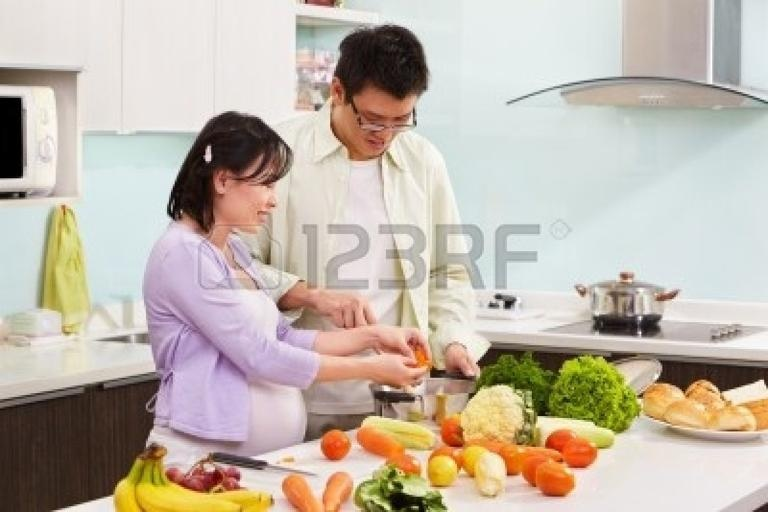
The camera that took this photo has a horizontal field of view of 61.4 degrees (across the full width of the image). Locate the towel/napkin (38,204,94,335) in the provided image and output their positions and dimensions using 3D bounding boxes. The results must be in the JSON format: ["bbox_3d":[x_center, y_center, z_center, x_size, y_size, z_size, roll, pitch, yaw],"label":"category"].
[{"bbox_3d":[-1.648,0.070,3.325,0.206,0.654,0.151,-4,7,-42],"label":"towel/napkin"}]

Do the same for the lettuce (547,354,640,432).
[{"bbox_3d":[0.609,0.393,1.994,0.269,0.210,0.296,6,10,35],"label":"lettuce"}]

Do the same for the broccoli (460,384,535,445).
[{"bbox_3d":[0.310,0.434,1.758,0.197,0.144,0.156,5,10,22],"label":"broccoli"}]

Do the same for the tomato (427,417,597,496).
[{"bbox_3d":[0.329,0.514,1.620,0.200,0.062,0.210,0,4,6],"label":"tomato"}]

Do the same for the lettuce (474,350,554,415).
[{"bbox_3d":[0.406,0.397,2.052,0.224,0.202,0.193,-2,-9,6],"label":"lettuce"}]

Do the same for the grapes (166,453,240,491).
[{"bbox_3d":[-0.387,0.479,1.409,0.190,0.092,0.141,9,-13,-18],"label":"grapes"}]

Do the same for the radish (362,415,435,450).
[{"bbox_3d":[0.055,0.494,1.863,0.250,0.082,0.079,14,-34,1],"label":"radish"}]

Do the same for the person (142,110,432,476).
[{"bbox_3d":[-0.312,0.159,2.002,0.576,1.222,0.610,0,1,9],"label":"person"}]

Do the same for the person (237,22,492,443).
[{"bbox_3d":[-0.115,-0.113,2.297,0.688,1.499,0.661,-5,13,-25],"label":"person"}]

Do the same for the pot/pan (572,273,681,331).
[{"bbox_3d":[1.240,0.243,3.272,0.429,0.226,0.291,0,-3,17],"label":"pot/pan"}]
